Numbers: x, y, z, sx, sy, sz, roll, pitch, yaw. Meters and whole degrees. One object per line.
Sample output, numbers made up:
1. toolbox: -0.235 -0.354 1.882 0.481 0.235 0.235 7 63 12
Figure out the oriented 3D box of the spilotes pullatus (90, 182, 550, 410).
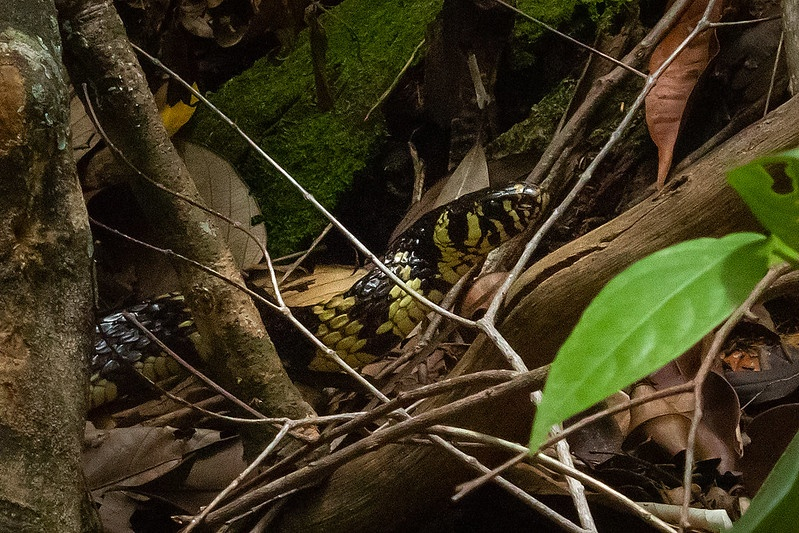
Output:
1. spilotes pullatus: -0.289 0.115 3.417 1.678 0.530 0.372 -14 5 6
